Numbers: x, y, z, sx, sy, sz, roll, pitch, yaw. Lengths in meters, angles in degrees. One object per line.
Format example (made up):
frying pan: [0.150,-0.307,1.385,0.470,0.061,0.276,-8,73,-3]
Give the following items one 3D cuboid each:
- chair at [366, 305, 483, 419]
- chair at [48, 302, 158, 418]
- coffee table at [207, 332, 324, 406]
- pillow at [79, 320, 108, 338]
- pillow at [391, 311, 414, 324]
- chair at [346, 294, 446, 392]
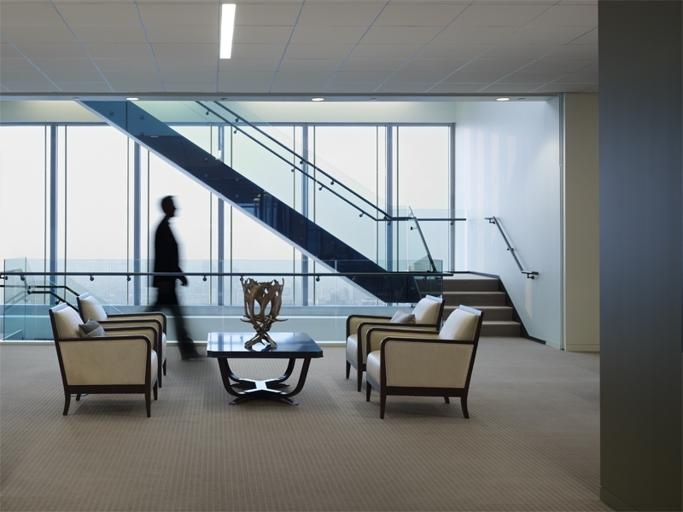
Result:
chair: [0.871,1.152,6.148,1.119,1.188,1.051,1,-6,-2]
chair: [-2.502,1.101,6.100,1.064,1.234,1.061,1,-2,-9]
coffee table: [-0.943,1.294,6.434,1.204,0.631,1.432,0,4,-13]
pillow: [-2.680,0.793,5.882,0.081,0.144,0.205,-48,-21,23]
pillow: [0.780,0.780,6.813,0.104,0.097,0.237,-23,4,-8]
chair: [0.671,1.093,6.948,1.123,1.266,1.086,1,-6,-6]
